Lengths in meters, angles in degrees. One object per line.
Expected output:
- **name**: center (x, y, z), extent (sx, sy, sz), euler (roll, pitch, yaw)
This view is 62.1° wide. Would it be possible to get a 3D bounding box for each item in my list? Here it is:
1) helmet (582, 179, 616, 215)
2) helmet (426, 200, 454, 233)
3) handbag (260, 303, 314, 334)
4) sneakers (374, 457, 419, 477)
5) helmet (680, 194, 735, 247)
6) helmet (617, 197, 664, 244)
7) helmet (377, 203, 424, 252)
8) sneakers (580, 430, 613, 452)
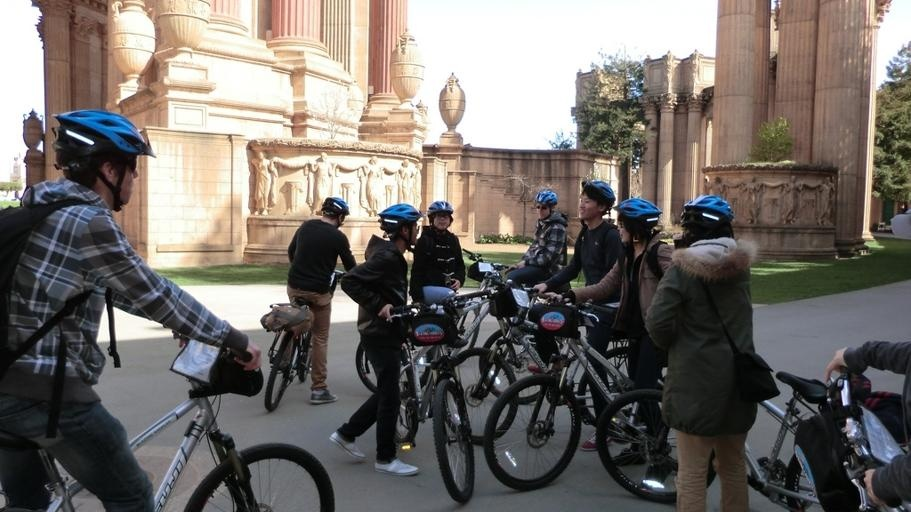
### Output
- **helmet**: center (1.974, -0.828, 10.488), extent (0.515, 0.427, 0.412), euler (-1, -3, -29)
- **helmet**: center (-0.187, -0.612, 11.321), extent (0.358, 0.435, 0.458), euler (2, -13, -9)
- **handbag**: center (-1.581, 0.612, 7.533), extent (0.353, 0.185, 0.445), euler (6, 9, 33)
- **sneakers**: center (-0.695, 2.534, 9.088), extent (0.433, 0.151, 0.209), euler (2, -2, 4)
- **helmet**: center (2.778, -0.381, 8.351), extent (0.490, 0.557, 0.600), euler (13, 19, 42)
- **helmet**: center (2.372, -0.485, 9.524), extent (0.591, 0.534, 0.456), euler (-10, 10, -5)
- **helmet**: center (-0.576, -0.316, 9.451), extent (0.606, 0.573, 0.475), euler (-13, -10, -14)
- **sneakers**: center (1.731, 2.410, 9.714), extent (0.483, 0.198, 0.158), euler (5, -5, -39)
